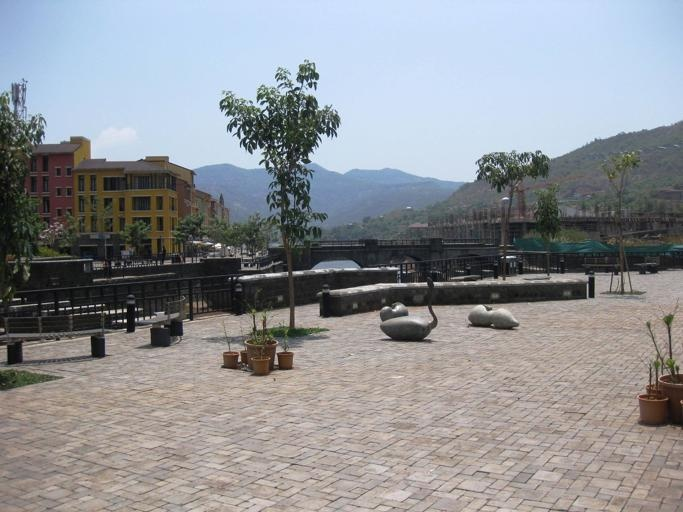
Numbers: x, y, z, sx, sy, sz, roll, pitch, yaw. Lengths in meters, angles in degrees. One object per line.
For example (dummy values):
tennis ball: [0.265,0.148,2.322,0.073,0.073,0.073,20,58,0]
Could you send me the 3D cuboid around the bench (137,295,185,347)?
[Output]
bench: [-4.817,1.864,15.692,1.001,1.509,0.820,-1,0,25]
